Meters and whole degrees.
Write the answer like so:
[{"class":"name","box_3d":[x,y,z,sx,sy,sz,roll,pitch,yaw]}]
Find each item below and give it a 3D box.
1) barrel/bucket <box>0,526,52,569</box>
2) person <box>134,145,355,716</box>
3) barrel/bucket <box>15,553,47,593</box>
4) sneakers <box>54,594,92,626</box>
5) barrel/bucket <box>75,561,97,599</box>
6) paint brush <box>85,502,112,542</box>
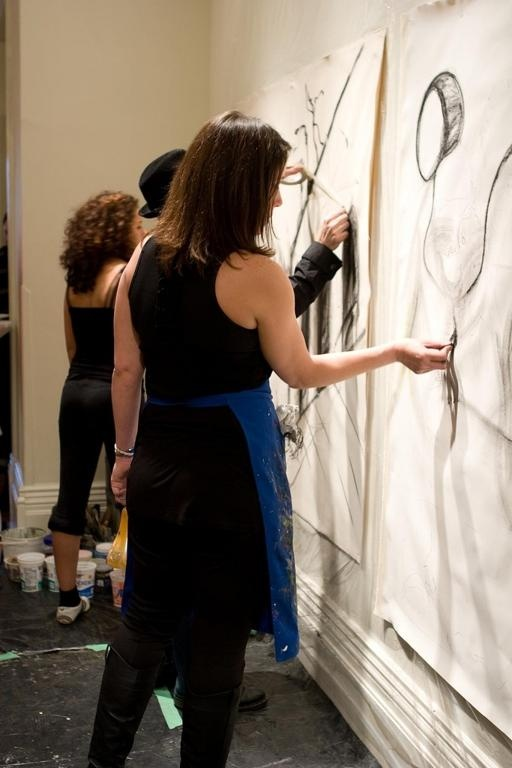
[{"class":"barrel/bucket","box_3d":[-1.306,0.713,2.883,0.190,0.163,0.204,1,2,0]},{"class":"person","box_3d":[0.043,0.169,1.656,0.414,1.375,0.511,-1,-5,-11]},{"class":"barrel/bucket","box_3d":[-1.167,0.797,2.671,0.138,0.147,0.147,1,-1,0]},{"class":"sneakers","box_3d":[-0.832,0.848,2.382,0.057,0.073,0.168,-2,7,12]},{"class":"barrel/bucket","box_3d":[-0.829,0.781,2.583,0.105,0.164,0.121,-3,6,-9]},{"class":"paint brush","box_3d":[-0.948,0.707,3.148,0.128,0.172,0.168,17,-27,-1]}]
